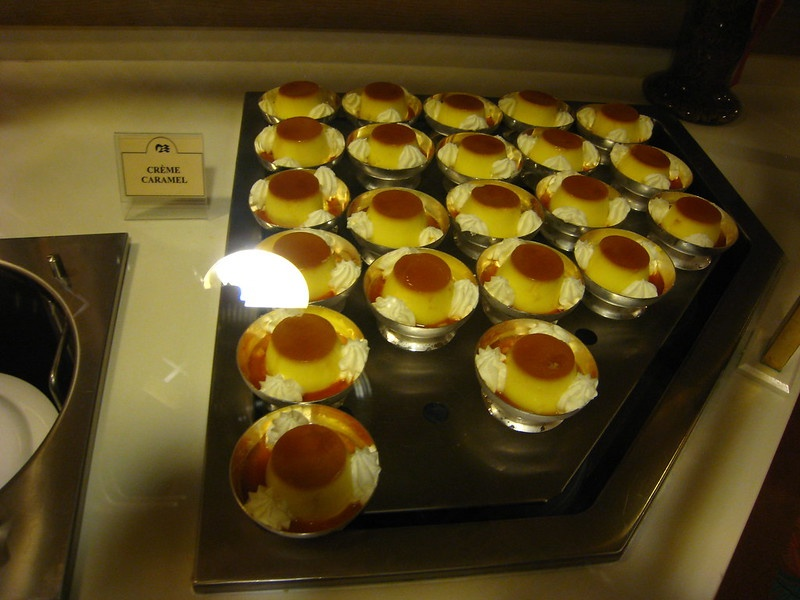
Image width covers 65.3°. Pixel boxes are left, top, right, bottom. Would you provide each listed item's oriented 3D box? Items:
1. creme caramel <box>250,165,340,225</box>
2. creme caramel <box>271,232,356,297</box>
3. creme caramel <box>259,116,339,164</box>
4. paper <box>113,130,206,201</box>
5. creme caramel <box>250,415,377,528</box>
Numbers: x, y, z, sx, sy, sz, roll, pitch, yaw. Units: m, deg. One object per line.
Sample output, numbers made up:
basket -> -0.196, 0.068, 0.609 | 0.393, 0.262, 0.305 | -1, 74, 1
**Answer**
creme caramel -> -0.304, -0.349, 1.859 | 0.239, 0.078, 0.219 | -2, 34, -4
creme caramel -> -0.222, -0.102, 1.687 | 0.206, 0.060, 0.189 | -9, 43, -28
creme caramel -> -0.318, -0.519, 2.051 | 0.214, 0.065, 0.214 | 24, 39, 29
paper -> -0.707, -0.395, 1.845 | 0.269, 0.198, 0.032 | 1, 35, -3
creme caramel -> -0.191, 0.373, 1.356 | 0.285, 0.121, 0.269 | 4, 45, -1
